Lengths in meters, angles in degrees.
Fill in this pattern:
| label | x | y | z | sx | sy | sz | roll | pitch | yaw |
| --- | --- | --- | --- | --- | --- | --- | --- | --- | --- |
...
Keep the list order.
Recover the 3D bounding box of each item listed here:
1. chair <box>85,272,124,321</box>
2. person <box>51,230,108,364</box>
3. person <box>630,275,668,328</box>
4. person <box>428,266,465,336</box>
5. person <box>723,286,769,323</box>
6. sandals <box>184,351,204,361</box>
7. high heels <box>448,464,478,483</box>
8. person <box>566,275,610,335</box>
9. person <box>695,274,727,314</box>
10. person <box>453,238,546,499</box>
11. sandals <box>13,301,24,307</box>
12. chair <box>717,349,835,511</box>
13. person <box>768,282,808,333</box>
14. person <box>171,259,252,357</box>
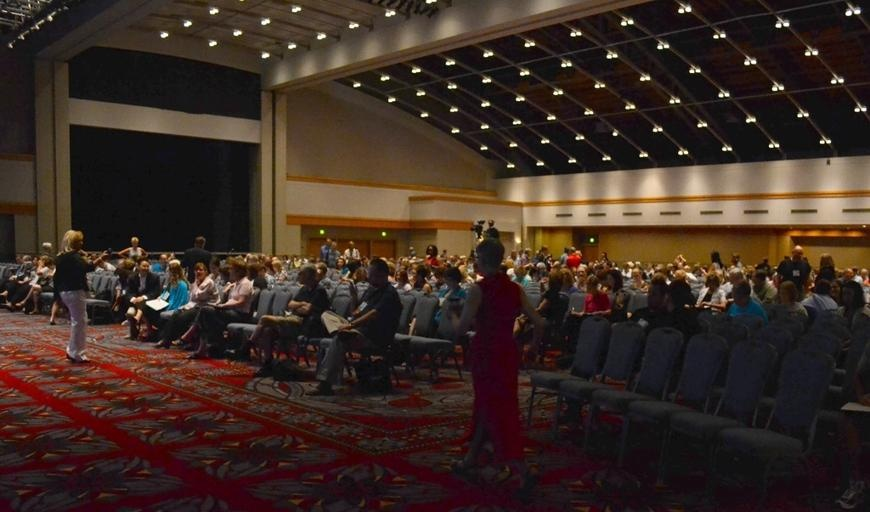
| label | x | y | z | sx | sy | sz | roll | pitch | yaw |
| --- | --- | --- | --- | --- | --- | --- | --- | --- | --- |
| chair | -8.324 | 1.066 | 14.544 | 0.525 | 0.920 | 1.297 | 2 | 1 | -43 |
| person | -6.632 | 0.747 | 10.591 | 0.590 | 2.300 | 0.762 | -5 | 10 | -29 |
| person | 3.669 | 0.802 | 9.925 | 0.456 | 0.797 | 0.888 | 11 | -4 | -19 |
| person | 0.246 | 0.683 | 9.549 | 0.446 | 0.386 | 1.296 | -11 | 28 | 8 |
| person | 5.018 | 0.738 | 9.290 | 0.476 | 0.639 | 0.854 | -2 | 14 | 18 |
| sandals | -4.656 | 1.930 | 11.102 | 0.380 | 0.155 | 0.142 | 2 | -2 | 19 |
| high heels | 0.330 | 2.493 | 6.612 | 0.220 | 0.131 | 0.299 | 7 | -1 | 1 |
| person | 2.815 | 1.002 | 10.736 | 0.786 | 1.252 | 0.639 | 8 | -9 | -15 |
| person | 5.779 | 0.812 | 12.176 | 0.622 | 0.940 | 0.607 | 3 | 10 | 28 |
| person | 0.725 | 1.192 | 6.435 | 0.874 | 2.687 | 0.669 | 2 | 9 | 10 |
| sandals | -12.143 | 1.399 | 16.788 | 0.339 | 0.132 | 0.104 | -14 | -2 | 27 |
| chair | 3.919 | 1.927 | 6.620 | 0.838 | 1.556 | 1.158 | 8 | 12 | 40 |
| person | 5.908 | 0.874 | 9.705 | 0.532 | 0.934 | 0.678 | 7 | -5 | -14 |
| person | -4.488 | 1.117 | 11.587 | 1.281 | 1.796 | 0.831 | 19 | -39 | -20 |
